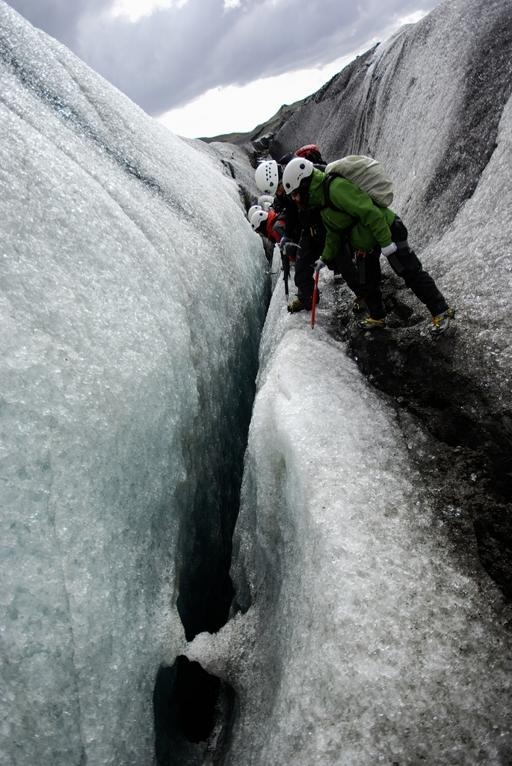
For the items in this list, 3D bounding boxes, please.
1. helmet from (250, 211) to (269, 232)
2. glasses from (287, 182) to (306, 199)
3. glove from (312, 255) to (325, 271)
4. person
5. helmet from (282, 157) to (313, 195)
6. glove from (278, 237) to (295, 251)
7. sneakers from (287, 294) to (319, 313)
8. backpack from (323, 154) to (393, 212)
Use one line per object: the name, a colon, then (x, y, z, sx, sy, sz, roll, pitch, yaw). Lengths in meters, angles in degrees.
helmet: (0.015, -1.221, 4.203, 0.122, 0.147, 0.107, 13, 23, -3)
glasses: (0.175, -0.848, 2.461, 0.061, 0.049, 0.055, -35, 39, -11)
glove: (0.293, -0.569, 2.605, 0.054, 0.058, 0.073, 17, 60, -25)
person: (0.465, -0.579, 2.415, 0.291, 0.821, 0.703, -30, 33, -31)
helmet: (0.171, -0.898, 2.434, 0.138, 0.119, 0.106, -28, 27, 24)
glove: (0.174, -0.805, 3.217, 0.068, 0.040, 0.093, 37, 23, 11)
sneakers: (0.250, -0.428, 2.976, 0.170, 0.131, 0.070, 11, 74, 13)
backpack: (0.418, -0.859, 2.286, 0.101, 0.195, 0.276, -14, 70, -55)
